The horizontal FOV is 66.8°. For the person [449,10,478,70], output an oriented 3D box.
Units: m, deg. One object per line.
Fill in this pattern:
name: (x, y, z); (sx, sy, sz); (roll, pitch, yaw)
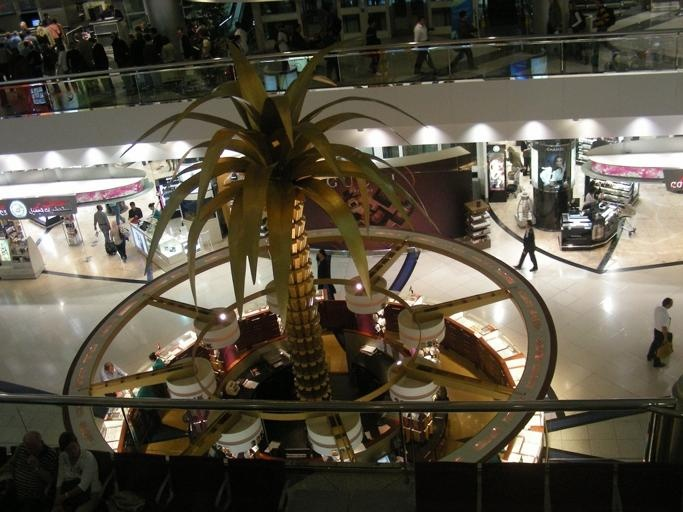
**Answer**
person: (3.165, -5.723, 13.528); (0.543, 1.441, 3.137); (1, 22, 13)

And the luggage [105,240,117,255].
luggage: (-8.252, -0.359, 18.529); (0.306, 0.453, 0.235); (-19, 27, 3)

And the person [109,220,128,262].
person: (-7.856, -0.612, 18.261); (0.455, 1.343, 1.088); (-14, 23, -23)

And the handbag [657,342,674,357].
handbag: (6.954, 2.010, 11.195); (0.262, 0.249, 0.087); (-36, 8, 15)

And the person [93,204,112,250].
person: (-8.501, -1.029, 18.537); (0.388, 1.809, 0.666); (-17, 24, -31)

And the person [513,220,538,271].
person: (5.449, -0.432, 15.189); (0.617, 1.514, 0.903); (4, 22, 20)

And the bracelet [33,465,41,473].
bracelet: (-2.820, 1.970, 4.789); (0.051, 0.055, 0.012); (7, -15, -19)

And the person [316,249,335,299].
person: (-0.403, 0.433, 12.420); (0.499, 1.457, 0.475); (4, 31, 13)

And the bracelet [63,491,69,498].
bracelet: (-2.425, 2.110, 4.565); (0.044, 0.044, 0.011); (-9, -6, -23)

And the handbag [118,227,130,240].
handbag: (-7.762, -0.844, 18.440); (0.278, 0.348, 0.376); (-14, 61, -27)

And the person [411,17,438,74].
person: (2.070, -5.352, 13.023); (0.524, 1.271, 1.680); (-1, 22, 9)

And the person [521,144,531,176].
person: (7.586, -4.067, 21.337); (0.267, 1.144, 0.916); (1, 22, 12)
